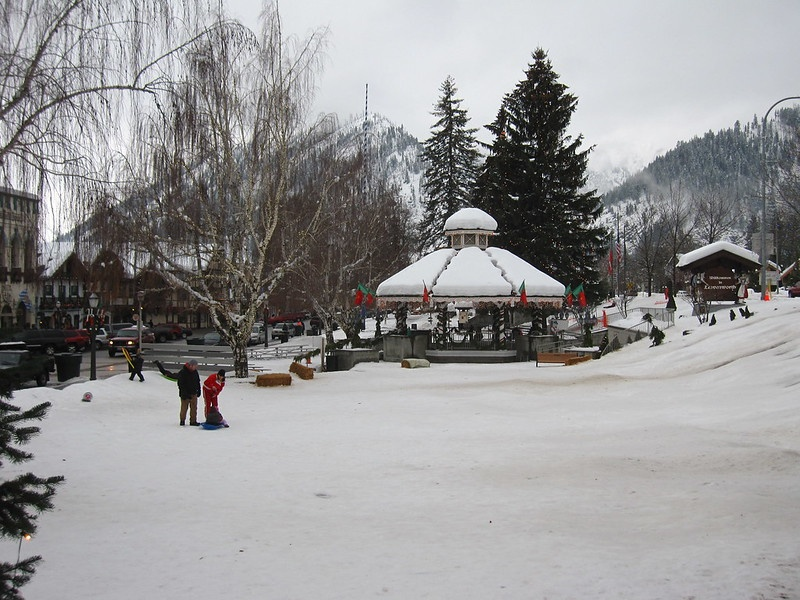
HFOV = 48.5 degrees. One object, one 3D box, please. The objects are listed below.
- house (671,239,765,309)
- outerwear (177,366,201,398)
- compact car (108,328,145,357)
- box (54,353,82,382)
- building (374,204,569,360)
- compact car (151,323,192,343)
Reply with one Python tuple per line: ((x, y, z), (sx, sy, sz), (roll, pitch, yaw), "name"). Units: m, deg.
((17.836, -0.412, 49.829), (4.187, 4.074, 4.008), (0, 4, 19), "house")
((-5.631, 2.234, 23.714), (0.531, 0.900, 0.449), (-1, -4, -14), "outerwear")
((-14.549, 2.348, 47.295), (1.341, 1.551, 2.900), (-1, -6, -1), "compact car")
((-12.077, 2.429, 32.532), (0.909, 1.444, 1.002), (-2, -2, 29), "box")
((3.325, -0.378, 44.781), (7.737, 6.834, 8.658), (-2, 2, -13), "building")
((-17.230, 2.552, 66.440), (1.110, 0.941, 2.758), (0, 5, 10), "compact car")
